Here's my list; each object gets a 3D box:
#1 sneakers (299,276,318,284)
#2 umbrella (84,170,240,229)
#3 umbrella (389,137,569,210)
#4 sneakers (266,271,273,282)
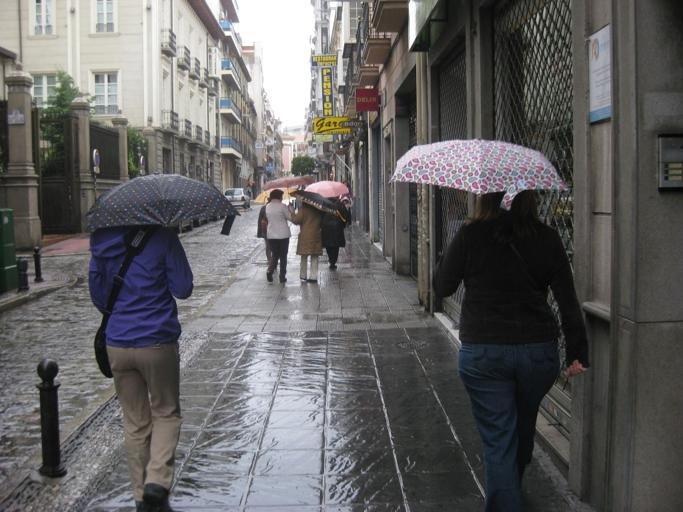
[{"bbox_3d":[-0.658,0.439,12.796,0.366,0.176,0.140,9,6,31],"label":"sneakers"},{"bbox_3d":[-1.147,-0.327,3.921,0.489,0.228,0.547,3,15,20],"label":"umbrella"},{"bbox_3d":[0.745,-0.462,3.522,0.907,0.365,0.541,2,7,22],"label":"umbrella"},{"bbox_3d":[-1.445,0.421,12.881,0.089,0.238,0.147,0,15,5],"label":"sneakers"}]
